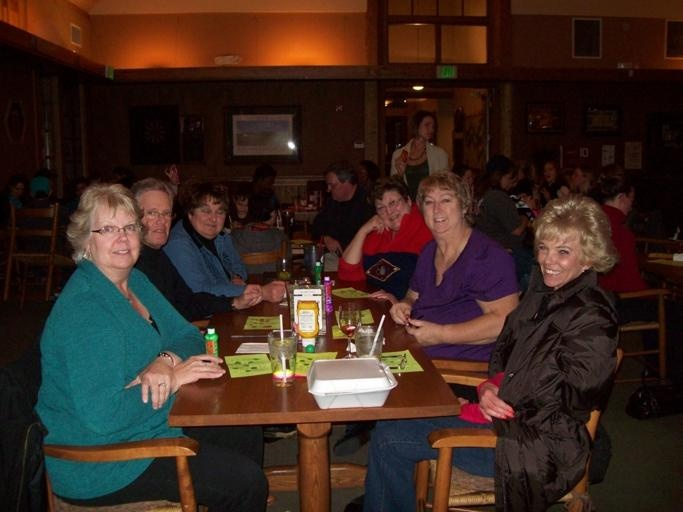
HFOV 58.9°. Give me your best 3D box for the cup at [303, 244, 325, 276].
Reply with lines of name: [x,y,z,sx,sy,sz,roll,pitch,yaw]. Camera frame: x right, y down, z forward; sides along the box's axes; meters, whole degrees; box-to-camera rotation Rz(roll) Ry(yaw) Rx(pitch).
cup: [-0.176,0.024,3.745,0.173,0.259,0.149,0,3,-1]

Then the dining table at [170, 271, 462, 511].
dining table: [-0.130,0.459,2.645,0.850,0.840,0.863,-2,16,-3]

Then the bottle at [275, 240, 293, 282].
bottle: [-0.347,0.084,3.692,0.112,0.350,0.105,1,9,0]

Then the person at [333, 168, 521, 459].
person: [0.590,0.083,3.096,0.880,1.594,0.858,3,0,-10]

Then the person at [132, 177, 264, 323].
person: [-0.702,-0.002,3.432,0.411,0.717,0.685,-4,19,-25]

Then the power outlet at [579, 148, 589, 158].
power outlet: [4.052,-1.734,10.130,0.149,0.157,0.151,1,3,10]

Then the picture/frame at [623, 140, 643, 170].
picture/frame: [4.959,-1.709,10.253,0.331,0.475,0.067,-3,6,-15]

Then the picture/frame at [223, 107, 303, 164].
picture/frame: [-1.340,-2.028,9.942,1.171,0.872,0.063,-1,10,-1]

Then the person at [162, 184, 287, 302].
person: [-0.780,-0.068,3.794,0.577,0.771,0.830,-20,29,-38]

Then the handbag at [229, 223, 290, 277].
handbag: [-0.605,-0.084,4.611,0.353,0.492,0.383,0,21,3]

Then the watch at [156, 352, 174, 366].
watch: [-0.742,0.429,2.558,0.061,0.024,0.051,33,41,9]

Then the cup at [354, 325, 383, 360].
cup: [0.110,0.386,2.641,0.114,0.133,0.121,2,-3,0]
